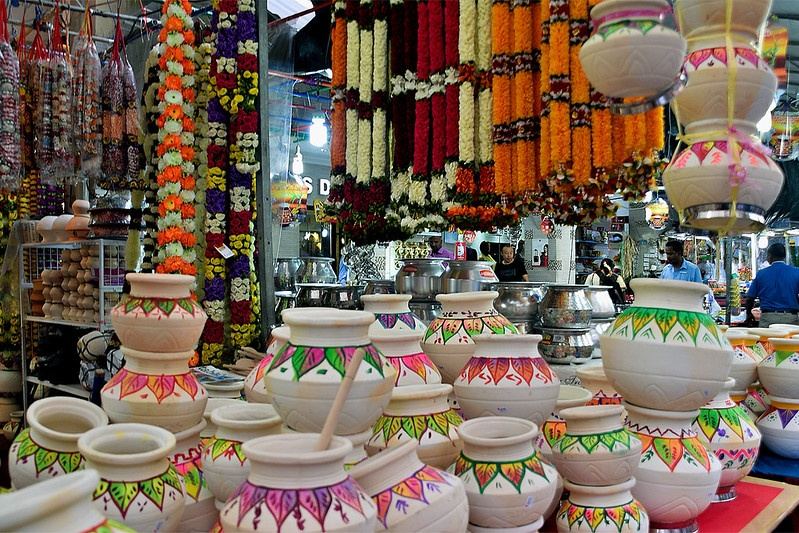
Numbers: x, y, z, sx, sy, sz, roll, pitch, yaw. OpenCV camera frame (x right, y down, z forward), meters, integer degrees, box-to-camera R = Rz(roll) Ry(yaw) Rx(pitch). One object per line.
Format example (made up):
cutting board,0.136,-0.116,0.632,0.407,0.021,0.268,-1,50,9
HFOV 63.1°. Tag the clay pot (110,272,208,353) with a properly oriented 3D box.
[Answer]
clay pot,-0.826,0.153,2.332,0.280,0.282,0.276,0,1,0

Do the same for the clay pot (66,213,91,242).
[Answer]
clay pot,-2.304,-0.275,4.617,0.176,0.187,0.180,-3,-1,0

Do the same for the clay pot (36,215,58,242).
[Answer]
clay pot,-2.627,-0.281,4.812,0.174,0.208,0.195,-1,1,4

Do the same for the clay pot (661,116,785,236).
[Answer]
clay pot,1.221,-0.298,2.507,0.406,0.343,0.391,1,-10,0

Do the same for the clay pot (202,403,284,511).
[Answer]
clay pot,-0.573,0.651,2.205,0.296,0.328,0.290,14,-2,0

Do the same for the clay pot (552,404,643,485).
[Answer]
clay pot,0.686,0.644,2.285,0.300,0.292,0.302,-4,-5,0

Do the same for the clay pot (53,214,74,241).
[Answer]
clay pot,-2.468,-0.283,4.720,0.160,0.198,0.188,-1,-1,7

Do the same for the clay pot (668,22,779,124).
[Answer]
clay pot,1.290,-0.710,2.539,0.341,0.294,0.338,1,4,0

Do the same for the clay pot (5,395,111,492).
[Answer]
clay pot,-1.128,0.525,2.184,0.306,0.356,0.308,13,9,-2

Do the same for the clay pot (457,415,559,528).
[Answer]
clay pot,0.323,0.654,2.202,0.323,0.322,0.315,-1,0,0

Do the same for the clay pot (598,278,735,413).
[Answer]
clay pot,0.893,0.250,2.430,0.430,0.508,0.464,3,2,0
